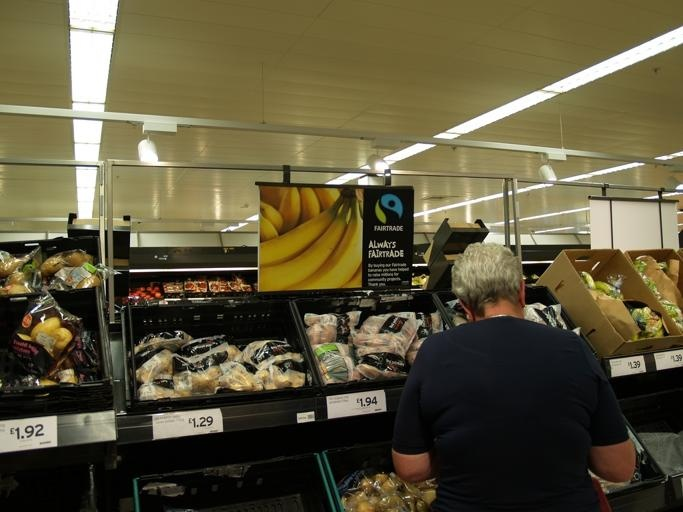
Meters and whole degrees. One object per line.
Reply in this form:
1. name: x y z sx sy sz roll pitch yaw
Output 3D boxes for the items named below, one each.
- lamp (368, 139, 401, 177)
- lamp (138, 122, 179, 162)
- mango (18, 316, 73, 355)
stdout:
1. lamp: 0.479 -1.289 5.842 0.293 0.507 0.290 7 28 -16
2. lamp: -2.033 -1.269 5.200 0.460 0.386 0.246 -7 10 -25
3. mango: -0.995 0.266 1.618 0.156 0.113 0.060 23 -8 -23
